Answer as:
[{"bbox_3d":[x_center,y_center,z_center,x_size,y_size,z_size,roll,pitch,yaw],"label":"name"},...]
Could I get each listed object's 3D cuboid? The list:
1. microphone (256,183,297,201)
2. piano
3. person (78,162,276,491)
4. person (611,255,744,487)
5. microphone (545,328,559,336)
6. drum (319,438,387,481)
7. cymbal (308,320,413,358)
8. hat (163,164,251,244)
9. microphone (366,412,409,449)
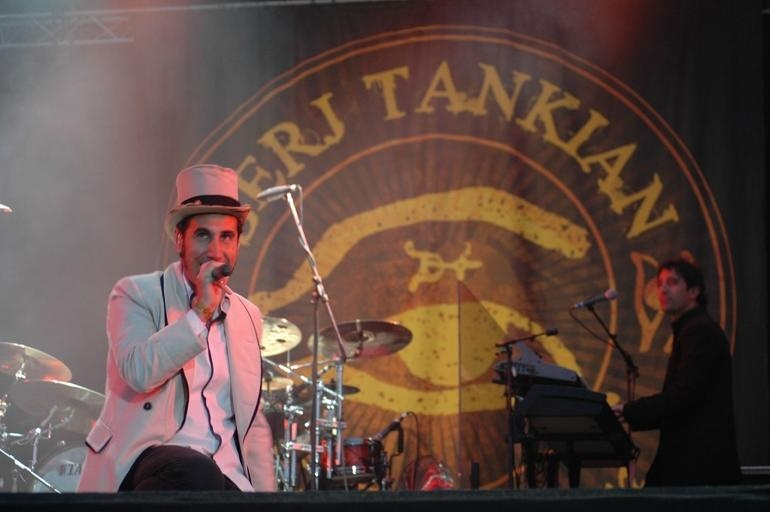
[{"bbox_3d":[-0.826,-0.497,8.470,0.363,0.128,0.126,-9,-68,11],"label":"microphone"},{"bbox_3d":[1.450,1.099,8.472,1.075,0.764,1.589,2,-10,17],"label":"piano"},{"bbox_3d":[-1.229,0.554,6.960,1.153,2.194,0.882,8,-31,-15],"label":"person"},{"bbox_3d":[2.349,0.965,8.512,0.874,2.234,0.779,6,-29,11],"label":"person"},{"bbox_3d":[1.307,0.583,8.336,0.152,0.055,0.087,2,-6,-25],"label":"microphone"},{"bbox_3d":[-0.189,1.671,8.925,0.396,0.402,0.272,2,-10,0],"label":"drum"},{"bbox_3d":[-0.180,0.695,8.762,0.851,0.260,0.577,0,-31,-2],"label":"cymbal"},{"bbox_3d":[-1.141,-0.409,7.273,0.507,0.334,0.625,0,-10,-19],"label":"hat"},{"bbox_3d":[0.052,1.445,8.895,0.355,0.096,0.110,-34,-33,-26],"label":"microphone"}]
